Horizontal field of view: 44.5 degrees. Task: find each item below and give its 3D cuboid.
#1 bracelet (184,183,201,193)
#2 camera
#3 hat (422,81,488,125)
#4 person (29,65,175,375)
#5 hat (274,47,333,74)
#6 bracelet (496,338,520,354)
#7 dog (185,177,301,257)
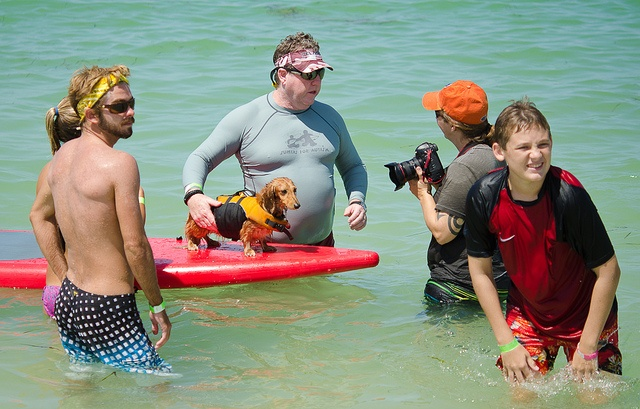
[{"bbox_3d":[-1.325,-0.187,8.200,0.180,0.102,0.133,-7,13,-10],"label":"bracelet"},{"bbox_3d":[1.018,-0.399,7.928,0.634,0.339,0.528,-12,-8,-15],"label":"camera"},{"bbox_3d":[1.283,-1.031,7.626,0.627,0.310,0.366,22,61,13],"label":"hat"},{"bbox_3d":[-2.029,0.173,7.057,0.970,2.778,1.127,-17,18,-37],"label":"person"},{"bbox_3d":[-0.214,-1.496,8.182,0.412,0.119,0.311,-1,0,33],"label":"hat"},{"bbox_3d":[1.639,1.239,6.847,0.142,0.050,0.124,-23,-6,-18],"label":"bracelet"},{"bbox_3d":[-0.894,0.146,8.524,1.418,0.732,0.547,0,-1,29],"label":"dog"}]
